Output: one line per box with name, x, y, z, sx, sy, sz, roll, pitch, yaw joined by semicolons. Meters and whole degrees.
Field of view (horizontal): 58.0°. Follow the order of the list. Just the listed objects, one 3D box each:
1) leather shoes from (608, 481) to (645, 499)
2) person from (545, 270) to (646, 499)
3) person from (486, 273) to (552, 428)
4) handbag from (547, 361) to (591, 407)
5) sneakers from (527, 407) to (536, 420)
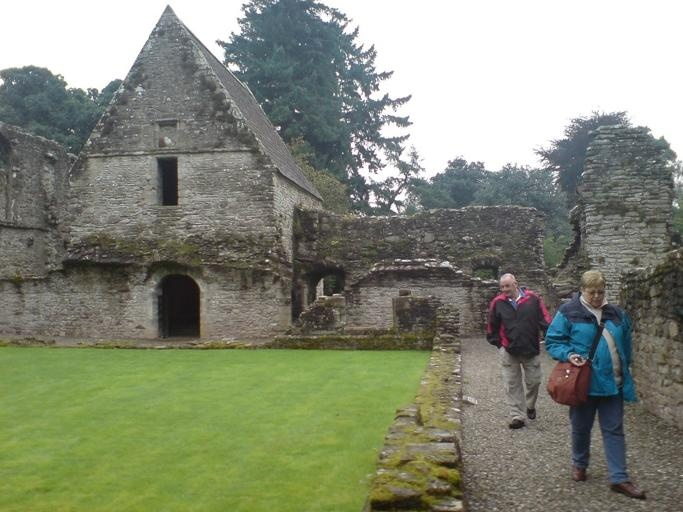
leather shoes;3.086;2.536;6.659;0.341;0.117;0.147;-8;-8;40
person;2.872;1.384;6.975;0.769;2.472;0.824;8;-9;-37
person;2.597;1.352;9.063;0.896;2.192;0.659;1;-7;11
handbag;2.554;1.430;6.940;0.460;0.482;0.193;1;-7;13
sneakers;2.752;2.302;9.002;0.126;0.169;0.139;-6;-34;39
